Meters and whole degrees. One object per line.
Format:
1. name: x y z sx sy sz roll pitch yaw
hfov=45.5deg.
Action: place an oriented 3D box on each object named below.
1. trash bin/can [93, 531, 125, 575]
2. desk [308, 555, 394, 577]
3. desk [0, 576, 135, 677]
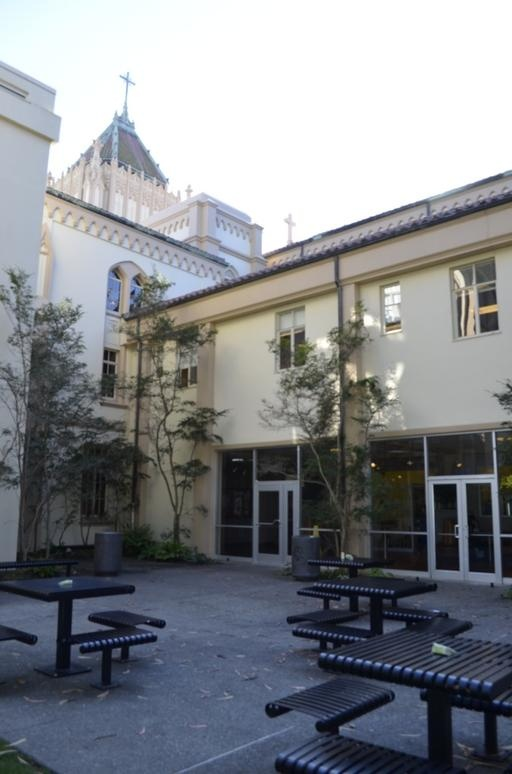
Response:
1. trash bin/can: -3.196 3.597 13.203 0.571 0.874 0.527 1 -9 -12
2. desk: 1.322 2.572 8.618 0.835 0.323 1.182 -6 -10 32
3. desk: -1.541 1.865 5.218 0.998 0.894 0.994 5 -10 -33
